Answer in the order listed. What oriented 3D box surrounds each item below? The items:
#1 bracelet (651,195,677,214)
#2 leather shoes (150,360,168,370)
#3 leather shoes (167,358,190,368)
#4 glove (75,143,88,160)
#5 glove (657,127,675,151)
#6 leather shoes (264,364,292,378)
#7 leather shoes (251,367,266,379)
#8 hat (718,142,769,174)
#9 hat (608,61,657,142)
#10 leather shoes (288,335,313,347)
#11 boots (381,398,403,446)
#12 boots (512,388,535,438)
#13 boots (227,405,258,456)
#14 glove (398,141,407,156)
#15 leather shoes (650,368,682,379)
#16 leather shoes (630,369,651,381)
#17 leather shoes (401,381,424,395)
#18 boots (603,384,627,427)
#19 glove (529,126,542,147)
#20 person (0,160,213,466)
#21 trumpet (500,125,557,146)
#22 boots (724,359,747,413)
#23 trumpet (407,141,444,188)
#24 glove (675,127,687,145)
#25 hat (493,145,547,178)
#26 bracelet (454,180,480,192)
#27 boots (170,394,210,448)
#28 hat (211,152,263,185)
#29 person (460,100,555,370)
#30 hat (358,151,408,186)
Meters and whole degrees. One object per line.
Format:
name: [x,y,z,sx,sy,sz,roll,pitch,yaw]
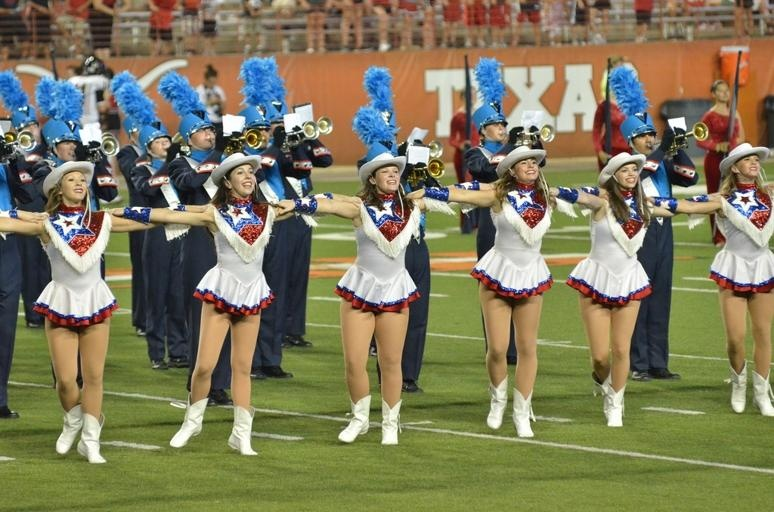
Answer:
bracelet: [2.521,-0.480,10.742,0.178,0.167,0.061,5,-30,-1]
leather shoes: [-2.388,1.136,12.351,0.173,0.075,0.070,-7,-6,35]
leather shoes: [-2.200,1.123,12.468,0.282,0.117,0.097,-1,7,-1]
glove: [-2.958,-1.009,11.411,0.108,0.155,0.245,-2,10,-10]
glove: [2.781,-1.159,11.763,0.077,0.205,0.158,9,-2,-39]
leather shoes: [-1.107,1.155,11.930,0.305,0.110,0.106,3,1,6]
leather shoes: [-1.298,1.176,11.878,0.191,0.122,0.069,-2,-3,35]
hat: [3.212,-0.892,10.793,0.352,0.090,0.340,-16,-15,-12]
hat: [2.557,-1.596,12.070,0.377,0.893,0.414,-8,-19,-11]
leather shoes: [-0.996,0.948,13.276,0.320,0.123,0.103,1,3,-1]
boots: [0.022,1.384,9.882,0.173,0.348,0.359,4,16,1]
boots: [1.184,1.334,10.164,0.179,0.331,0.484,-1,16,-2]
boots: [-1.196,1.370,9.698,0.227,0.392,0.458,-2,10,-9]
glove: [0.150,-1.030,11.387,0.034,0.115,0.125,19,4,-28]
leather shoes: [2.773,1.157,11.743,0.289,0.108,0.105,-1,3,15]
leather shoes: [2.528,1.184,11.720,0.084,0.100,0.231,0,-4,-43]
leather shoes: [0.255,1.270,11.380,0.225,0.087,0.080,0,6,-9]
boots: [2.003,1.287,10.371,0.159,0.299,0.447,-1,12,10]
glove: [1.414,-1.150,11.462,0.128,0.236,0.142,6,9,15]
person: [-2.506,0.423,9.530,0.790,2.335,0.639,3,11,22]
trumpet: [1.400,-1.180,11.556,0.253,0.215,0.446,-4,3,-28]
boots: [3.200,1.198,10.738,0.172,0.376,0.410,0,17,21]
trumpet: [0.342,-0.848,10.778,0.238,0.294,0.569,-2,6,-1]
glove: [2.947,-1.212,11.830,0.135,0.178,0.065,-2,-21,2]
hat: [1.143,-0.778,10.165,0.317,0.084,0.315,-30,-13,19]
bracelet: [0.715,-0.612,10.275,0.194,0.073,0.113,-4,8,-35]
boots: [-1.649,1.362,9.751,0.160,0.304,0.459,10,18,24]
hat: [-1.240,-0.711,9.670,0.389,0.246,0.234,-3,10,-16]
person: [1.358,-0.215,12.538,1.068,2.836,1.020,-11,27,-17]
hat: [-0.043,-0.702,9.903,0.297,0.111,0.276,-25,-12,29]
